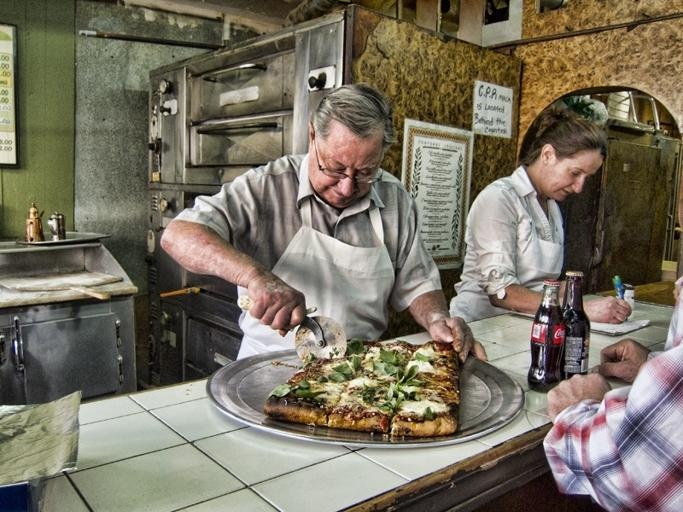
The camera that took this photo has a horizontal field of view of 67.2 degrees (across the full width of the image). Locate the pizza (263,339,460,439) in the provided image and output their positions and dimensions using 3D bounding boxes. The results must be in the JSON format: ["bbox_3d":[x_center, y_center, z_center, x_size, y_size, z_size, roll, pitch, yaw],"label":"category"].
[{"bbox_3d":[0.122,0.405,1.785,0.577,0.109,0.677,4,14,12],"label":"pizza"}]

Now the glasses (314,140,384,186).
[{"bbox_3d":[0.050,-0.396,2.133,0.217,0.061,0.208,4,33,-35],"label":"glasses"}]

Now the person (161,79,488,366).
[{"bbox_3d":[-0.070,-0.125,2.193,1.254,1.164,0.794,-6,16,-23],"label":"person"}]
